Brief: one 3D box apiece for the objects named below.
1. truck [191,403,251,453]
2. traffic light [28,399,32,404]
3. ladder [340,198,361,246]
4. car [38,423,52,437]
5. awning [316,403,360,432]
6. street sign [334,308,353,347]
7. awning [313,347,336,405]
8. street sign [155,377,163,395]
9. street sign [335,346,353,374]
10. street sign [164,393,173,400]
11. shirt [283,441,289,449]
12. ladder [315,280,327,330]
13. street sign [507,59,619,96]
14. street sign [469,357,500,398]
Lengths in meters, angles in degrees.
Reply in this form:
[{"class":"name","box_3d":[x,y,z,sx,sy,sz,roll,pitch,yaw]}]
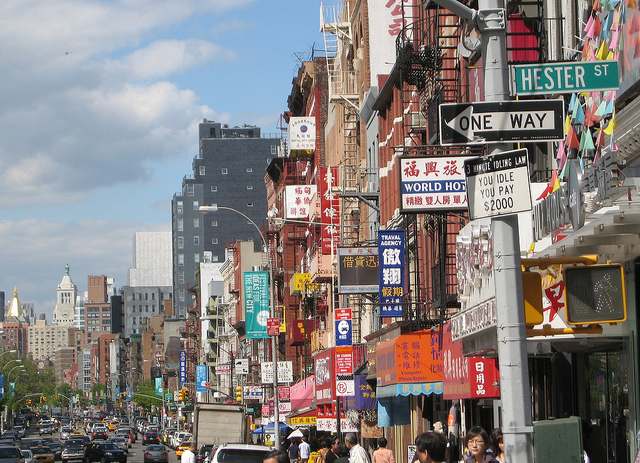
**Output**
[{"class":"truck","box_3d":[-3.927,7.530,60.023,1.266,1.707,2.470,1,-4,-4]},{"class":"traffic light","box_3d":[-34.857,20.496,186.327,0.383,0.804,0.393,1,3,-11]},{"class":"ladder","box_3d":[1.218,-0.374,65.776,0.562,2.073,1.875,1,0,2]},{"class":"car","box_3d":[-26.317,18.761,148.315,0.992,1.088,2.222,0,-13,-14]},{"class":"awning","box_3d":[0.608,7.450,62.543,1.664,1.224,8.234,-5,-7,-1]},{"class":"street sign","box_3d":[0.838,3.739,60.285,0.626,1.500,0.799,-4,-6,2]},{"class":"awning","box_3d":[0.303,6.260,66.773,0.546,2.418,4.309,-1,-7,-10]},{"class":"street sign","box_3d":[-19.621,18.666,187.449,0.790,1.982,2.319,-4,-6,-4]},{"class":"street sign","box_3d":[0.853,4.778,58.949,0.715,1.488,0.160,-1,31,0]},{"class":"street sign","box_3d":[-17.123,18.459,173.636,0.880,0.922,0.340,1,-13,-7]},{"class":"shirt","box_3d":[-1.577,9.542,68.505,0.244,0.535,0.503,1,-10,-7]},{"class":"ladder","box_3d":[0.037,3.887,78.861,0.739,2.427,2.499,-2,2,0]},{"class":"street sign","box_3d":[5.473,-3.431,34.744,2.285,0.730,0.181,-5,-5,-2]},{"class":"street sign","box_3d":[4.623,4.116,44.238,0.794,1.161,0.498,-4,-5,0]}]
